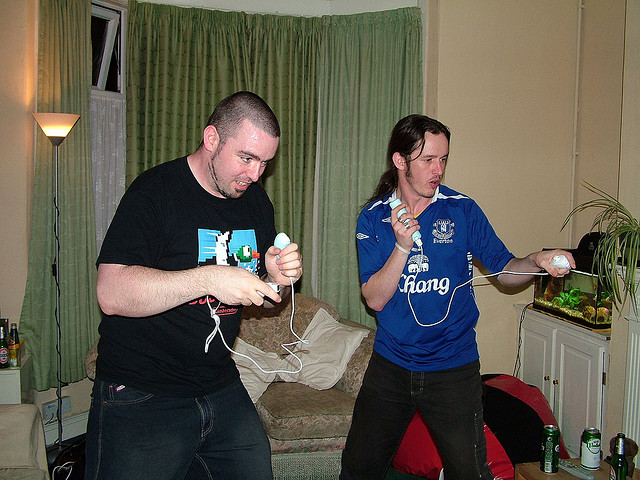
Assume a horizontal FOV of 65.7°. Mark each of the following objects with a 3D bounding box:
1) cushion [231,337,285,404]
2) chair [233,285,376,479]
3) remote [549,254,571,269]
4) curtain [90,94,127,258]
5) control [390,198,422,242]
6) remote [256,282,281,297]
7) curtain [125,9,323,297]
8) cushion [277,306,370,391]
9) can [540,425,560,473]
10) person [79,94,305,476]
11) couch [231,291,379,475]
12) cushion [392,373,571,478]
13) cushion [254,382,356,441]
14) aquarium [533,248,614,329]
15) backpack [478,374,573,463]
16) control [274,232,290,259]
[{"bbox_3d":[-0.482,0.967,3.603,0.471,0.563,0.574,4,5,-7],"label":"cushion"},{"bbox_3d":[-0.106,0.967,3.718,1.114,0.821,1.238,0,20,-9],"label":"chair"},{"bbox_3d":[1.146,0.106,2.343,0.076,0.063,0.057,-25,37,-20],"label":"remote"},{"bbox_3d":[-1.873,-0.579,4.298,0.302,1.352,0.058,0,-1,-14],"label":"curtain"},{"bbox_3d":[0.418,-0.115,2.451,0.083,0.323,0.082,-26,-18,14],"label":"control"},{"bbox_3d":[-0.215,0.219,2.166,0.066,0.053,0.077,-6,2,11],"label":"remote"},{"bbox_3d":[-0.829,-0.880,4.409,1.726,2.259,0.121,-1,5,-12],"label":"curtain"},{"bbox_3d":[0.032,0.833,3.728,0.538,0.488,0.507,4,6,38],"label":"cushion"},{"bbox_3d":[1.303,1.182,2.780,0.092,0.216,0.170,3,6,33],"label":"can"},{"bbox_3d":[-0.488,0.231,2.014,0.899,1.695,0.616,-2,5,-29],"label":"person"},{"bbox_3d":[-0.144,0.971,3.706,1.147,0.807,1.182,-2,16,-13],"label":"couch"},{"bbox_3d":[1.126,1.250,3.334,1.190,0.588,0.719,-3,6,-39],"label":"cushion"},{"bbox_3d":[-0.097,1.149,3.394,0.435,0.149,0.463,4,10,-7],"label":"cushion"},{"bbox_3d":[1.918,0.431,3.691,0.394,0.716,0.662,2,6,-13],"label":"aquarium"},{"bbox_3d":[1.368,1.201,3.268,0.510,0.702,0.203,19,-44,-33],"label":"backpack"},{"bbox_3d":[-0.164,0.029,2.203,0.043,0.101,0.068,5,12,-43],"label":"control"}]
